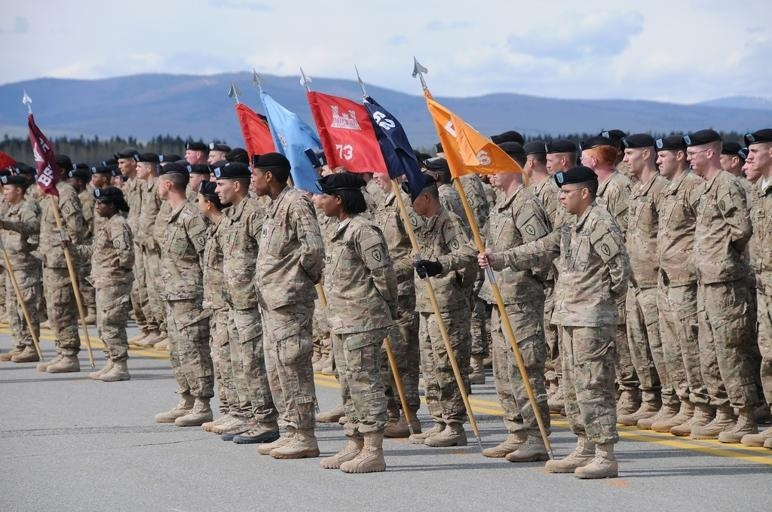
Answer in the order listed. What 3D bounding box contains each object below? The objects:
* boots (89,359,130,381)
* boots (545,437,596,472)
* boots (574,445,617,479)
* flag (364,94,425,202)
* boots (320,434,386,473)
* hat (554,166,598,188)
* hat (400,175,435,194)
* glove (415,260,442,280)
[{"bbox_3d":[-4.336,1.822,21.059,0.414,0.272,0.476,2,-4,-22],"label":"boots"},{"bbox_3d":[2.233,2.368,15.987,0.726,0.390,0.221,-5,-3,-19],"label":"boots"},{"bbox_3d":[2.476,2.397,15.743,0.538,0.419,0.236,-1,-6,-19],"label":"boots"},{"bbox_3d":[0.116,-1.425,17.330,0.682,1.233,0.768,-6,-1,-1],"label":"flag"},{"bbox_3d":[-0.347,2.399,16.284,0.981,0.582,0.348,3,0,2],"label":"boots"},{"bbox_3d":[2.262,-0.951,15.894,0.408,0.152,0.262,0,1,1],"label":"hat"},{"bbox_3d":[0.473,-0.899,17.091,0.393,0.314,0.266,-5,-1,-10],"label":"hat"},{"bbox_3d":[0.541,0.156,16.606,0.342,0.220,0.224,-5,-1,-1],"label":"glove"}]
